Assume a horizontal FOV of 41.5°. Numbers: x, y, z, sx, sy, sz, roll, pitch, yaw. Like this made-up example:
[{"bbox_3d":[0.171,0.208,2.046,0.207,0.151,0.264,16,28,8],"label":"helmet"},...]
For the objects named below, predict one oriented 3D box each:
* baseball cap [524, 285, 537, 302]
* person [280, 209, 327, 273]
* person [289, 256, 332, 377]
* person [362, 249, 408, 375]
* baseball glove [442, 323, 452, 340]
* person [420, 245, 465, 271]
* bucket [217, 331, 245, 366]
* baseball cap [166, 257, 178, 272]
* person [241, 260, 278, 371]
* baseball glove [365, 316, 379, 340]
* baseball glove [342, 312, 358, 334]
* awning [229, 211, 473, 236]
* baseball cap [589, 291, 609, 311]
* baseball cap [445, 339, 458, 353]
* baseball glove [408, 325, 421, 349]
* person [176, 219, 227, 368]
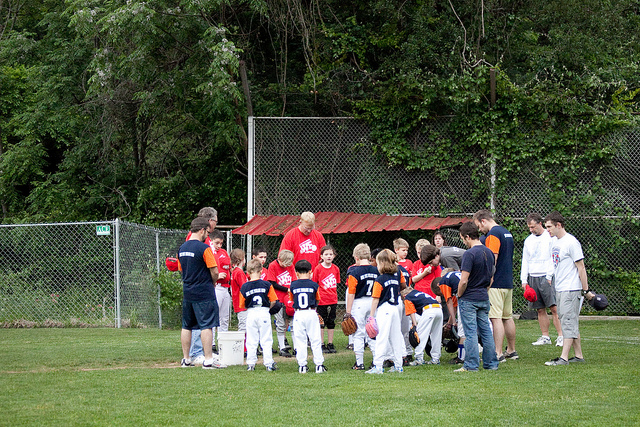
[{"bbox_3d":[4.779,1.809,19.211,0.288,0.390,0.237,-1,-7,-4],"label":"baseball cap"},{"bbox_3d":[-0.368,0.670,19.534,1.248,2.299,0.602,-1,3,-27],"label":"person"},{"bbox_3d":[-0.250,2.146,17.521,0.684,2.363,0.434,-2,-7,0],"label":"person"},{"bbox_3d":[1.387,2.042,17.624,0.730,2.564,1.069,-8,-9,42],"label":"person"},{"bbox_3d":[2.693,2.508,18.000,0.140,0.311,0.197,-2,15,-44],"label":"baseball glove"},{"bbox_3d":[2.820,0.892,18.732,1.176,0.504,0.799,-3,19,0],"label":"person"},{"bbox_3d":[-2.032,2.905,18.298,0.629,0.695,0.655,1,-3,0],"label":"bucket"},{"bbox_3d":[-3.215,1.078,18.442,0.248,0.283,0.534,-1,-9,-9],"label":"baseball cap"},{"bbox_3d":[-1.283,2.143,17.963,0.710,2.437,0.671,0,10,-1],"label":"person"},{"bbox_3d":[1.052,2.347,17.273,0.143,0.405,0.275,-13,6,-16],"label":"baseball glove"},{"bbox_3d":[0.621,2.312,17.600,0.245,0.368,0.362,-6,-10,-1],"label":"baseball glove"},{"bbox_3d":[0.630,0.200,22.091,5.544,0.727,0.631,-3,-8,4],"label":"awning"},{"bbox_3d":[5.813,1.868,17.784,0.261,0.234,0.374,2,3,-10],"label":"baseball cap"},{"bbox_3d":[2.799,2.824,18.047,0.249,0.267,0.253,-2,-8,3],"label":"baseball cap"},{"bbox_3d":[1.965,2.581,17.590,0.120,0.383,0.256,-9,-5,11],"label":"baseball glove"},{"bbox_3d":[-2.534,1.711,18.067,1.028,3.170,0.901,-1,-1,32],"label":"person"}]
